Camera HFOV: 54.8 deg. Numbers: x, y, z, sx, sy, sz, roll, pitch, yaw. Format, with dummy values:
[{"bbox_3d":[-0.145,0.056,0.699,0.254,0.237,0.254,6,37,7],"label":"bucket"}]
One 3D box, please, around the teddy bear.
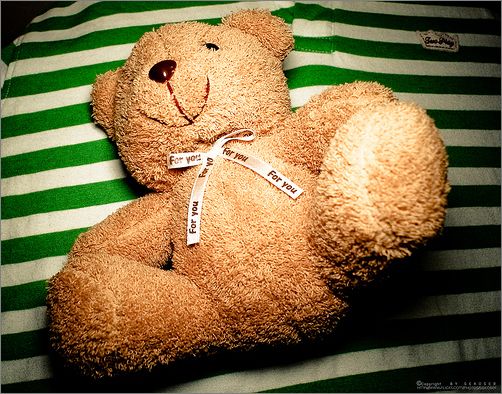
[{"bbox_3d":[-0.019,0.028,1.079,0.823,0.341,0.649,-26,77,13],"label":"teddy bear"}]
